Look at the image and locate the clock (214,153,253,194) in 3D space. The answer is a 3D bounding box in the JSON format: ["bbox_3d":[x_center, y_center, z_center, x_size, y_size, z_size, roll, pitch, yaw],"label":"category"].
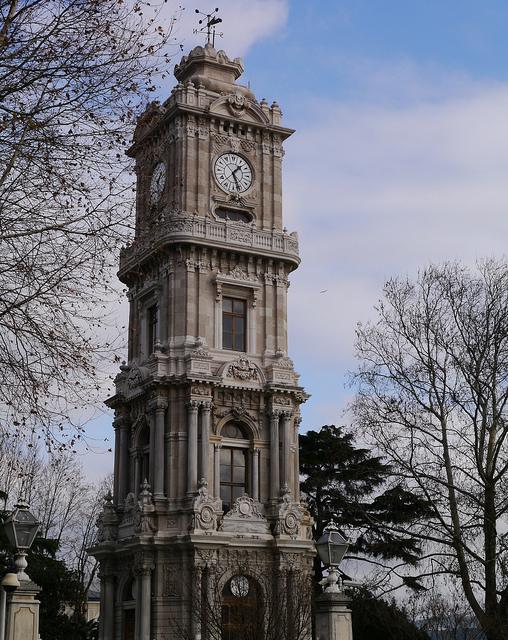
[{"bbox_3d":[-0.835,-5.611,58.515,1.854,1.867,0.125,17,30,22],"label":"clock"}]
